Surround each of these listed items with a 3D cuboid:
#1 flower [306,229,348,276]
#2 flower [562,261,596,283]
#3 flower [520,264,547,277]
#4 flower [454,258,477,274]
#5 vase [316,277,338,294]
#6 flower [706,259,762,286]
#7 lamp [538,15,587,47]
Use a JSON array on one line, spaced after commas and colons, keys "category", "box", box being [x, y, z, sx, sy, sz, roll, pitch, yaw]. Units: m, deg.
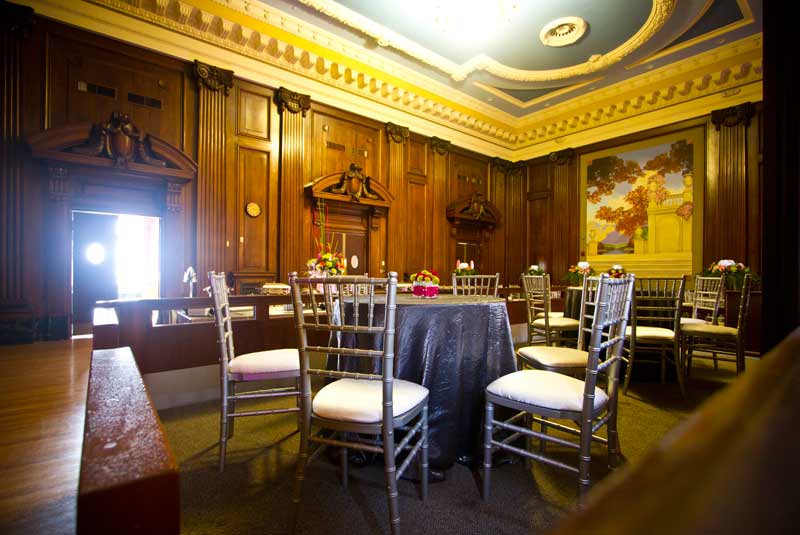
[{"category": "flower", "box": [-1.177, -0.227, 8.562, 0.647, 0.948, 0.681, 3, 7, 15]}, {"category": "flower", "box": [2.984, 0.078, 9.048, 0.381, 0.386, 0.399, -2, 1, 4]}, {"category": "flower", "box": [2.541, 0.070, 10.285, 0.238, 0.242, 0.215, -4, 5, -18]}, {"category": "flower", "box": [1.279, 0.030, 10.539, 0.364, 0.217, 0.374, 2, 2, 28]}, {"category": "vase", "box": [-0.659, 0.168, 4.961, 0.139, 0.147, 0.104, 4, 16, 19]}, {"category": "flower", "box": [4.812, 0.100, 7.845, 0.381, 0.278, 0.397, 1, 0, 12]}, {"category": "lamp", "box": [2.632, -3.747, 8.808, 0.749, 0.215, 0.658, -1, 1, 18]}]
